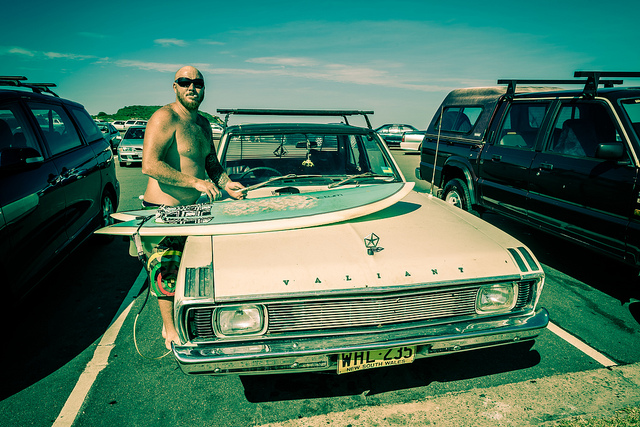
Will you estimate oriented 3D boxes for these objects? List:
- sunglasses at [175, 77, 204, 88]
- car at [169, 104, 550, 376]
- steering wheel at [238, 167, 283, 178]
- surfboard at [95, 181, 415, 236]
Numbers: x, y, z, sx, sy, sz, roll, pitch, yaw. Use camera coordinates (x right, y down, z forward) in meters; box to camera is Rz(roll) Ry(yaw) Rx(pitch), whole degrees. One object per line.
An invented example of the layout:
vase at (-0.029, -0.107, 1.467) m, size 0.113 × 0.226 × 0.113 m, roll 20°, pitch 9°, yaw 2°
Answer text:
sunglasses at (-1.269, -1.300, 4.505) m, size 0.331 × 0.099 × 0.124 m, roll 9°, pitch 23°, yaw 28°
car at (-0.148, 0.555, 6.074) m, size 3.481 × 1.582 × 4.685 m, roll -2°, pitch 4°, yaw -11°
steering wheel at (-0.754, -0.519, 5.446) m, size 0.447 × 0.087 × 0.157 m, roll -2°, pitch 1°, yaw -11°
surfboard at (-0.501, -0.053, 4.616) m, size 2.981 × 0.256 × 0.578 m, roll -4°, pitch 29°, yaw -6°
